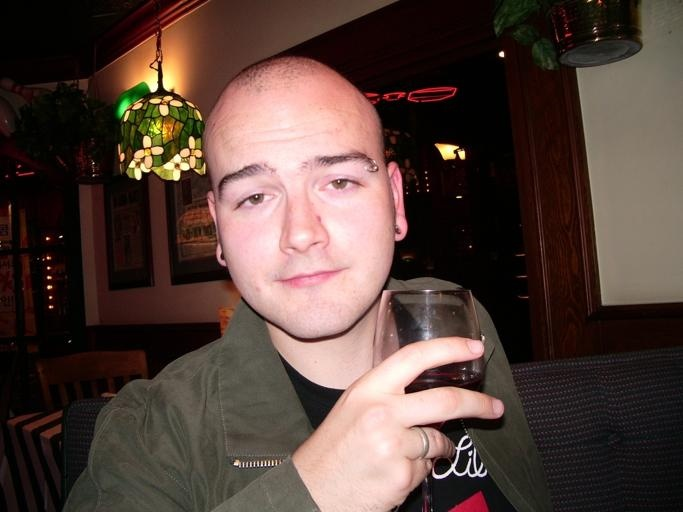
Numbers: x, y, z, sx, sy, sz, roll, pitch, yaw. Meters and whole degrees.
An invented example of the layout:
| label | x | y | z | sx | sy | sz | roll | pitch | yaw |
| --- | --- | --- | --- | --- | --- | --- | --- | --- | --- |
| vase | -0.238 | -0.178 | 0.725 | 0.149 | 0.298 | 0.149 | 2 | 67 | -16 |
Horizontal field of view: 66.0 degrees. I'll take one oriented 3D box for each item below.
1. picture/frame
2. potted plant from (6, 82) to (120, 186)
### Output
| label | x | y | z | sx | sy | sz | roll | pitch | yaw |
| --- | --- | --- | --- | --- | --- | --- | --- | --- | --- |
| picture/frame | -1.405 | -0.204 | 4.227 | 1.133 | 0.837 | 0.053 | 0 | 2 | 42 |
| potted plant | -1.790 | -0.782 | 3.511 | 0.651 | 0.658 | 0.642 | -22 | 5 | -42 |
